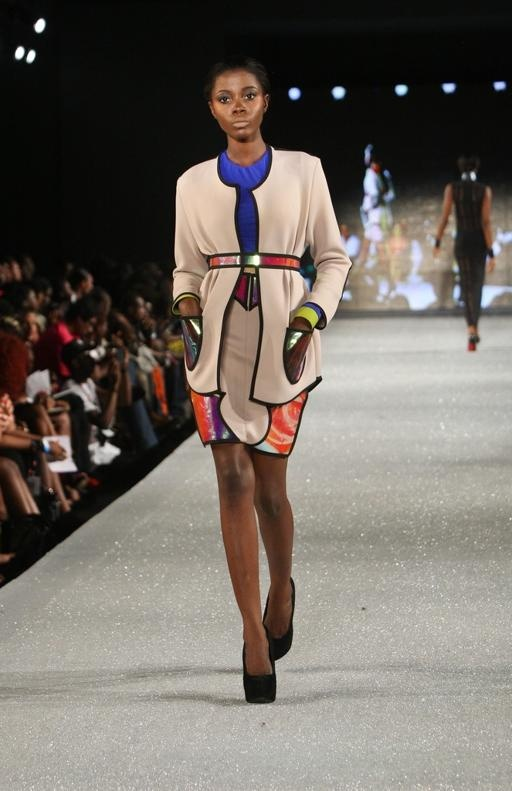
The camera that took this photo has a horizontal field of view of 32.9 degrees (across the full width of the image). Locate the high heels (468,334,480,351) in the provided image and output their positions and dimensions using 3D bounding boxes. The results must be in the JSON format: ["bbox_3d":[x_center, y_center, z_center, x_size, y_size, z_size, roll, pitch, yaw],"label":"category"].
[{"bbox_3d":[1.707,-0.413,6.813,0.095,0.123,0.168,0,7,15],"label":"high heels"}]

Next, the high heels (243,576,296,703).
[{"bbox_3d":[0.021,0.467,1.649,0.061,0.239,0.028,2,-17,3],"label":"high heels"}]

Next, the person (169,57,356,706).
[{"bbox_3d":[-0.017,-0.029,1.720,0.321,1.191,0.346,4,9,41],"label":"person"}]

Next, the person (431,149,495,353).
[{"bbox_3d":[1.667,-1.053,6.924,0.437,1.374,0.530,0,7,12],"label":"person"}]
